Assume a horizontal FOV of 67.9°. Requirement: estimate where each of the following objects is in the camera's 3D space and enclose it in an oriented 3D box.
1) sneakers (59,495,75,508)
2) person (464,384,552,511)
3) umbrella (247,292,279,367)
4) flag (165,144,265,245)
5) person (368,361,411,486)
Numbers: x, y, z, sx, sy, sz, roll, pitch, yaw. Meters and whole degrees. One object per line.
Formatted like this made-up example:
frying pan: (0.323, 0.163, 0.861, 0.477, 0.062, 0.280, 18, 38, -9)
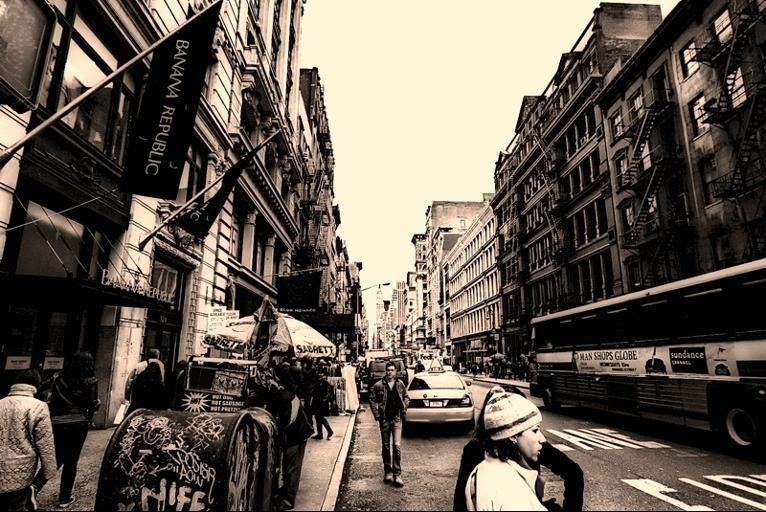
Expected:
sneakers: (-7.075, 5.554, 12.843, 0.140, 0.170, 0.371, 5, 7, 6)
person: (2.101, 3.352, 9.818, 1.303, 1.952, 0.548, 4, -16, -19)
umbrella: (-3.794, 2.450, 18.014, 0.757, 2.119, 1.249, -4, -16, 11)
flag: (-5.424, -2.135, 19.613, 4.688, 0.208, 1.725, -40, -29, 21)
person: (0.167, 4.455, 15.147, 0.942, 3.126, 0.865, -1, -15, -1)
